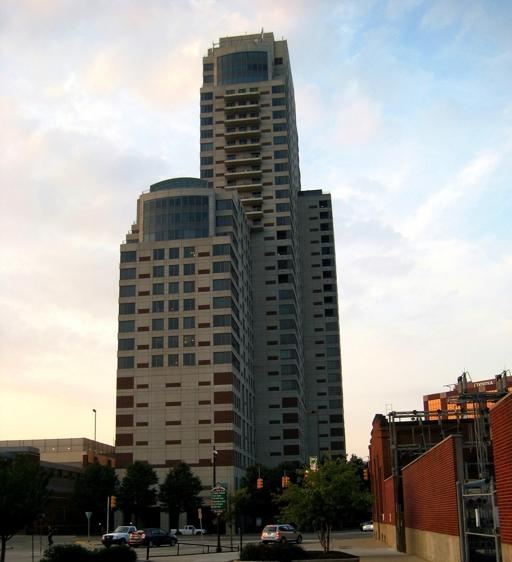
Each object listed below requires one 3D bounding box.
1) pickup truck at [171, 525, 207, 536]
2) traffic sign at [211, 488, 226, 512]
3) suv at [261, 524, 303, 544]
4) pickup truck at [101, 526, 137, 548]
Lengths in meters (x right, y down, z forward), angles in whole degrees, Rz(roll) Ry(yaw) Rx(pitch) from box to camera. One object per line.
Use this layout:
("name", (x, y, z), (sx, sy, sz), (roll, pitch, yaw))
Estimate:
("pickup truck", (-7.539, 27.601, 97.571), (3.149, 1.467, 9.401), (0, -20, 1))
("traffic sign", (-2.447, 14.331, 57.809), (0.980, 1.617, 1.552), (3, -20, -6))
("suv", (2.203, 20.233, 70.112), (2.779, 1.175, 1.623), (5, -12, -33))
("pickup truck", (-11.635, 21.693, 74.996), (2.536, 1.975, 9.415), (3, -20, -7))
